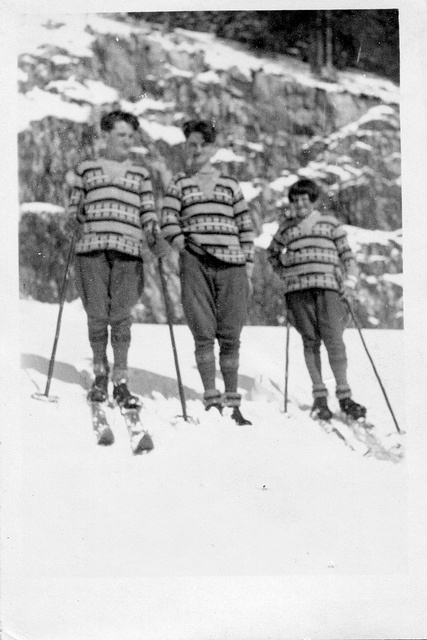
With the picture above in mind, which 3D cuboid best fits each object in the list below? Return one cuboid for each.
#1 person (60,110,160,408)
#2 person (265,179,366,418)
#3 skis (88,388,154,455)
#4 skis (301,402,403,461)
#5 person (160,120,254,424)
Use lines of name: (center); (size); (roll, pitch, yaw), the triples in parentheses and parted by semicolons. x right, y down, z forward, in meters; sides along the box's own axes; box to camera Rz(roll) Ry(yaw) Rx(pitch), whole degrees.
person: (-0.367, -0.228, 2.878); (0.330, 1.075, 0.190); (-1, 6, -13)
person: (0.384, -0.081, 2.880); (0.351, 0.868, 0.150); (0, 6, -3)
skis: (-0.337, 0.376, 2.842); (0.157, 0.215, 0.057); (-4, -11, -12)
skis: (0.509, 0.427, 2.926); (0.415, 0.161, 0.110); (31, -6, 9)
person: (-0.027, -0.180, 2.877); (0.350, 1.094, 0.161); (1, 6, 3)
